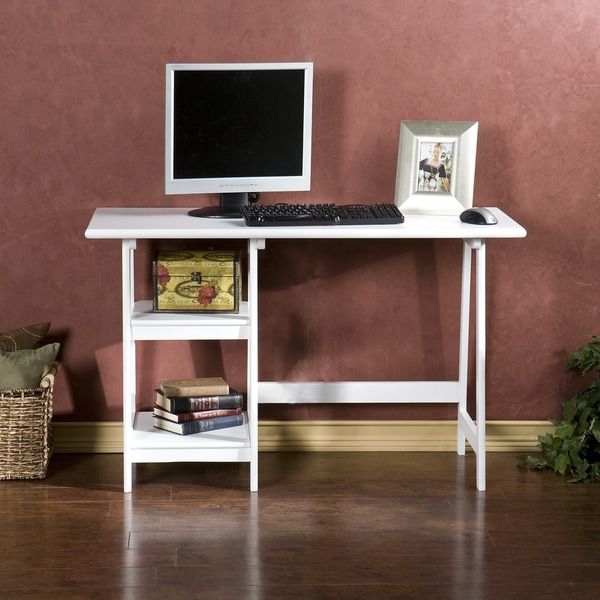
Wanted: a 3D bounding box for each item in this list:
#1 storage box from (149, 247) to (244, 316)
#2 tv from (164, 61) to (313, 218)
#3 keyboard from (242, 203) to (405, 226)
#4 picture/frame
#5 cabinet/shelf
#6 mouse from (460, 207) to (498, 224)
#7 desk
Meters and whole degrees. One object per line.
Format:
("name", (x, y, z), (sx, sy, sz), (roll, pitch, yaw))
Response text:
("storage box", (-0.332, -0.069, 2.349), (0.260, 0.182, 0.190), (0, 12, -7))
("tv", (-0.197, -0.519, 2.337), (0.465, 0.447, 0.133), (-4, 21, -17))
("keyboard", (0.066, -0.258, 2.232), (0.473, 0.062, 0.245), (0, 10, -5))
("picture/frame", (0.431, -0.427, 2.371), (0.362, 0.437, 0.050), (2, 4, 4))
("cabinet/shelf", (-0.347, 0.184, 2.384), (0.433, 0.790, 0.397), (0, 9, -6))
("mouse", (0.531, -0.251, 2.228), (0.124, 0.047, 0.077), (6, 11, 30))
("desk", (0.016, 0.174, 2.404), (1.273, 0.840, 0.520), (0, 7, 2))
